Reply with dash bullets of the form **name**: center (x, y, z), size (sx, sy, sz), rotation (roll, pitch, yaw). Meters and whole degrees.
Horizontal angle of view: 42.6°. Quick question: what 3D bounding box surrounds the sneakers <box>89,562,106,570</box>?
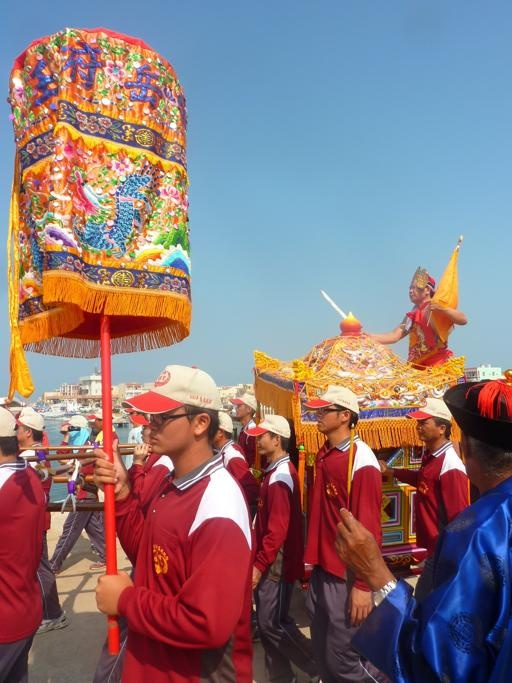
- **sneakers**: center (-2.063, 2.904, 8.491), size (0.206, 0.073, 0.070), rotation (9, -16, -25)

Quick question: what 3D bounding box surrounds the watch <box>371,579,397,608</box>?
- **watch**: center (0.492, 0.964, 2.531), size (0.078, 0.097, 0.095), rotation (42, -10, 35)

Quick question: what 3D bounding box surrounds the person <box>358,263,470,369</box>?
- **person**: center (1.926, -0.169, 7.635), size (0.645, 1.251, 0.834), rotation (20, -31, -14)

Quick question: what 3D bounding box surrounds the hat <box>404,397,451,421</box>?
- **hat**: center (1.436, 0.590, 5.656), size (0.443, 0.200, 0.271), rotation (4, -4, 11)

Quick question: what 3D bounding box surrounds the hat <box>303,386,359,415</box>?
- **hat**: center (0.593, 0.465, 5.181), size (0.382, 0.175, 0.225), rotation (4, -11, -3)

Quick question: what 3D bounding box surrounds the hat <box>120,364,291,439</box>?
- **hat**: center (-0.264, 0.307, 3.264), size (0.631, 0.314, 0.371), rotation (8, -3, -18)
